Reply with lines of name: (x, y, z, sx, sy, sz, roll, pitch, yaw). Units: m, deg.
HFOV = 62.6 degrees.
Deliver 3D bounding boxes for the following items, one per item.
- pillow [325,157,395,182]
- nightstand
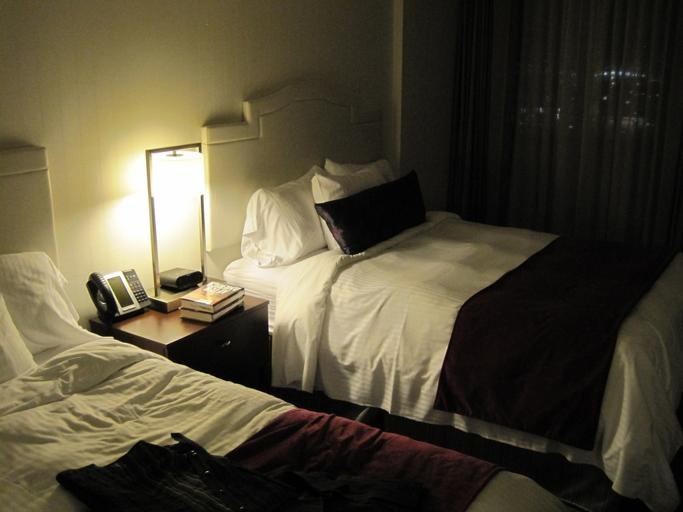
pillow: (0.085, -0.616, 3.984, 0.272, 0.089, 0.281, 6, 22, 5)
nightstand: (-0.778, 0.389, 2.903, 0.522, 0.631, 0.632, 13, 24, 27)
